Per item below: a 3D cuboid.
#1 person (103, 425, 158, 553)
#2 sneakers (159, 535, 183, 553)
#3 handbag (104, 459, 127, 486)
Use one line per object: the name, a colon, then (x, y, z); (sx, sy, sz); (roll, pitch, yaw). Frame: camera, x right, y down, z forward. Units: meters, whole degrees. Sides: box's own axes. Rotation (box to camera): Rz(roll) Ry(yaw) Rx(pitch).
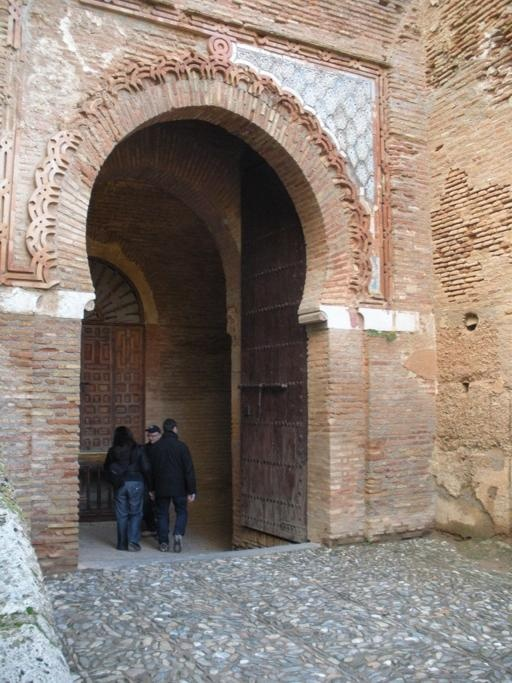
person: (-1.336, 1.514, 6.104); (0.453, 1.261, 0.429); (4, -9, -13)
sneakers: (-0.893, 2.116, 6.253); (0.168, 0.181, 0.460); (4, -12, -11)
handbag: (-1.430, 1.344, 6.018); (0.272, 0.247, 0.072); (-5, -11, 37)
